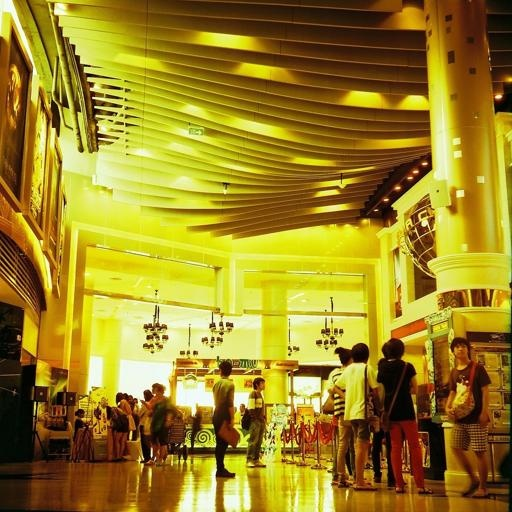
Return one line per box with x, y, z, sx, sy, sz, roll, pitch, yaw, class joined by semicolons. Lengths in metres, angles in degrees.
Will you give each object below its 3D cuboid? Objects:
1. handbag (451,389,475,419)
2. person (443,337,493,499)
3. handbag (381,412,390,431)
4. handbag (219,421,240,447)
1.552;1.148;4.032;0.083;0.190;0.188;17;-26;-36;handbag
1.689;1.279;4.221;0.332;1.184;0.676;-6;-22;21;person
0.990;1.284;4.063;0.067;0.109;0.034;-1;3;0;handbag
-0.251;1.969;5.816;0.215;0.258;0.349;15;-25;-31;handbag
